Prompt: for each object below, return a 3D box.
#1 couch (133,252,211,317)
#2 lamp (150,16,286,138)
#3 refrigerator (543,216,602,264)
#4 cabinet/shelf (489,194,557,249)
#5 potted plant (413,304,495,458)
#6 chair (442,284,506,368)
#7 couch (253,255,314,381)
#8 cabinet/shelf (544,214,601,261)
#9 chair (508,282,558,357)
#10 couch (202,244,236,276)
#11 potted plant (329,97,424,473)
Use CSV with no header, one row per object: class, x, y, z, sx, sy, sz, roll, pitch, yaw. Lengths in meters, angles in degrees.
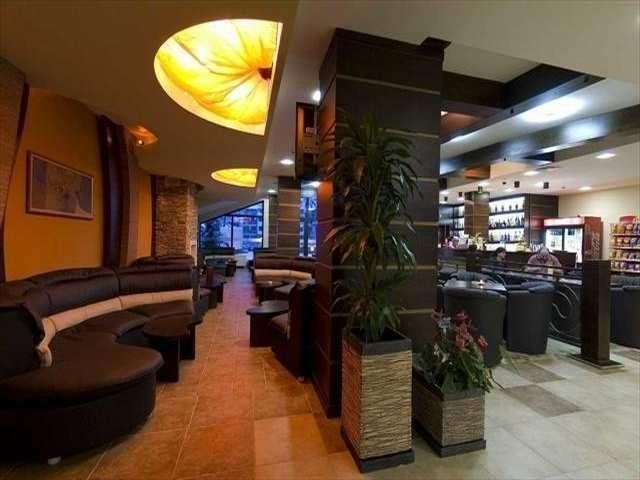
couch,-2.411,0.557,7.068,0.758,0.842,0.630,-5,18,-25
lamp,-1.205,-2.123,5.864,0.996,0.980,1.804,-1,0,24
refrigerator,6.654,-0.034,12.152,1.060,1.057,0.383,0,-1,1
cabinet/shelf,6.128,-0.291,13.562,1.027,2.055,2.068,6,-8,-12
potted plant,1.324,1.432,4.603,0.696,1.167,0.911,2,4,-16
chair,2.012,1.106,5.789,1.025,1.039,0.983,8,-13,-9
couch,-0.662,0.900,7.075,1.070,1.110,3.197,0,9,-15
cabinet/shelf,6.463,-0.067,11.126,0.428,1.186,1.202,1,-4,-6
chair,2.941,1.133,6.236,0.648,0.988,0.795,0,-3,27
couch,-3.553,0.598,14.660,1.329,0.908,0.688,1,-21,-17
potted plant,0.531,0.363,4.380,0.908,3.540,0.830,-1,0,0
